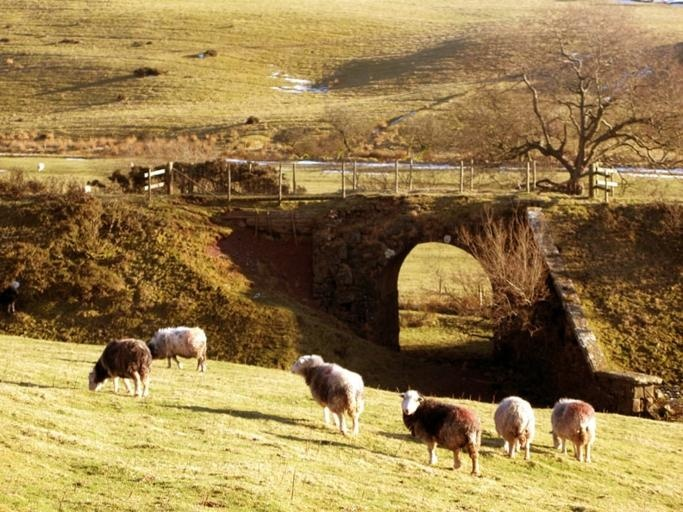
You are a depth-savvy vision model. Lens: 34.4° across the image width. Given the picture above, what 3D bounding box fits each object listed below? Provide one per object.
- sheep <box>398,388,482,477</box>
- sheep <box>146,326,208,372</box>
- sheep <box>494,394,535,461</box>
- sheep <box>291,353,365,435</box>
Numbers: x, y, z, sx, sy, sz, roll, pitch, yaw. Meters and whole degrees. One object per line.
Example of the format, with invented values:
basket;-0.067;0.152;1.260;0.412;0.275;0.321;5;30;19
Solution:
sheep;5.069;8.946;56.795;2.360;4.184;5.565;5;1;-43
sheep;-9.799;5.231;63.688;3.796;2.945;1.780;2;-3;6
sheep;9.152;9.135;58.763;1.661;3.039;3.900;0;1;-3
sheep;-0.781;7.371;59.548;1.942;3.657;4.334;-7;16;-42
